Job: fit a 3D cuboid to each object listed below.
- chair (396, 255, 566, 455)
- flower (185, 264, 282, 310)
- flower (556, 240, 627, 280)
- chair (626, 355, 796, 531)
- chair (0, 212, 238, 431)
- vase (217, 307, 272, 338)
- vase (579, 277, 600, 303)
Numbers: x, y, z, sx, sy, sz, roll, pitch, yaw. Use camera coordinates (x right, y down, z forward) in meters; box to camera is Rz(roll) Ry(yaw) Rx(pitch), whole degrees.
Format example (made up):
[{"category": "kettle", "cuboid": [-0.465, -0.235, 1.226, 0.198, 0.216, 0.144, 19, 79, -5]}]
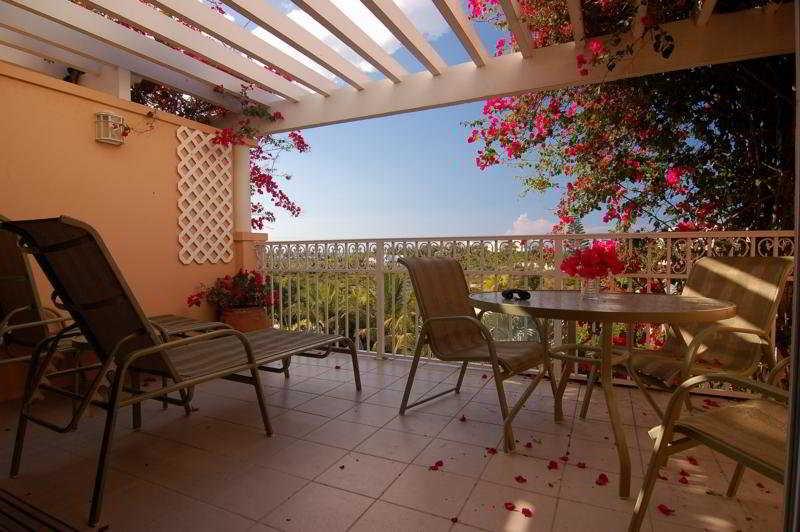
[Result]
[{"category": "chair", "cuboid": [0.689, 0.646, 4.291, 1.260, 1.396, 0.970, 4, 5, 42]}, {"category": "flower", "cuboid": [-2.149, 0.340, 6.409, 0.551, 0.387, 0.704, 13, 4, 22]}, {"category": "flower", "cuboid": [1.575, -0.033, 3.990, 0.431, 0.295, 0.425, -5, 0, 11]}, {"category": "chair", "cuboid": [1.927, 1.117, 2.998, 0.698, 1.054, 0.989, 3, 8, 40]}, {"category": "chair", "cuboid": [-2.063, 0.360, 4.186, 1.241, 1.803, 2.233, 2, 1, 32]}, {"category": "vase", "cuboid": [-1.946, 0.678, 6.163, 0.494, 0.354, 0.514, 0, -10, -6]}, {"category": "vase", "cuboid": [1.568, 0.194, 4.027, 0.190, 0.195, 0.187, 1, -5, -32]}]
